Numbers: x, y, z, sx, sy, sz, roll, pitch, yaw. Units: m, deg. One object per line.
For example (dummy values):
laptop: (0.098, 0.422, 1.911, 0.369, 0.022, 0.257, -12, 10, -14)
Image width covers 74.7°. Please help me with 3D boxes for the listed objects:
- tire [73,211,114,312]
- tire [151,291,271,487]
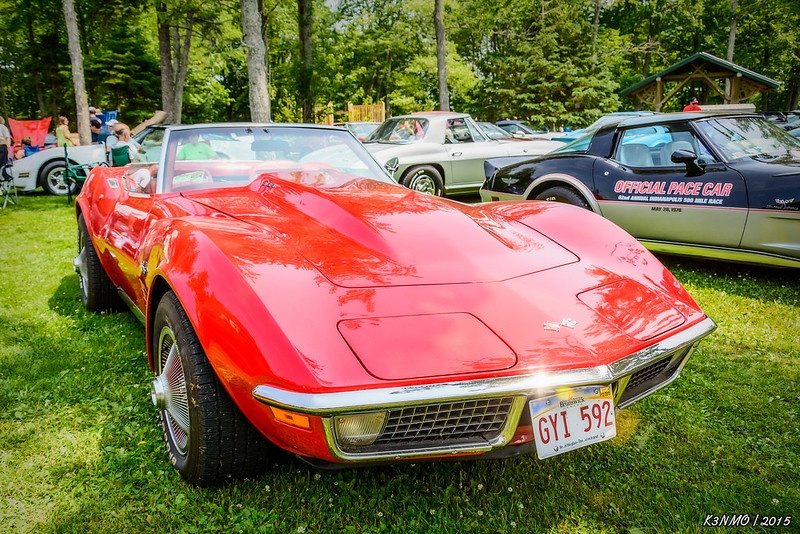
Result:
tire: (-2.776, -0.035, 4.749, 0.271, 0.746, 0.733, -10, 30, -37)
tire: (-0.991, 0.659, 2.804, 0.360, 0.844, 0.829, -4, 27, -33)
